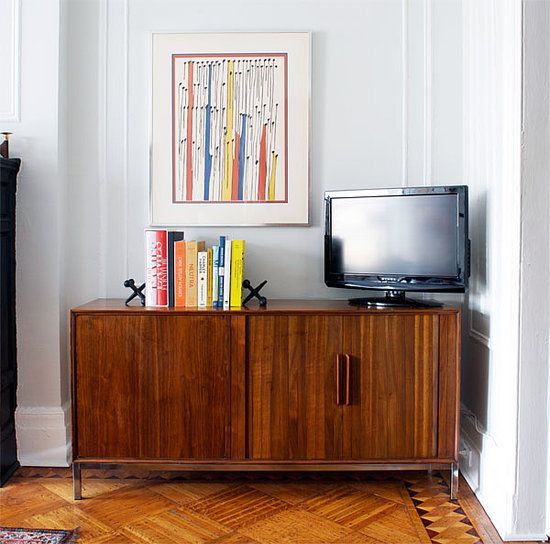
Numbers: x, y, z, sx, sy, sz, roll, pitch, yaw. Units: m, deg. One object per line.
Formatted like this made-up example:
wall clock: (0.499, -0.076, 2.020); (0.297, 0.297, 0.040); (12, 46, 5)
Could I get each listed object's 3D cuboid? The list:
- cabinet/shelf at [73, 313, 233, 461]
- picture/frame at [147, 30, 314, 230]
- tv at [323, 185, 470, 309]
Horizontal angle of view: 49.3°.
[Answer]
cabinet/shelf: (-0.540, 0.486, 2.679); (0.555, 0.572, 0.236); (-1, 2, 3)
picture/frame: (-0.213, -0.771, 3.082); (0.855, 1.131, 0.040); (0, -1, 1)
tv: (0.585, -0.126, 2.857); (0.532, 0.500, 0.135); (0, 3, 20)
